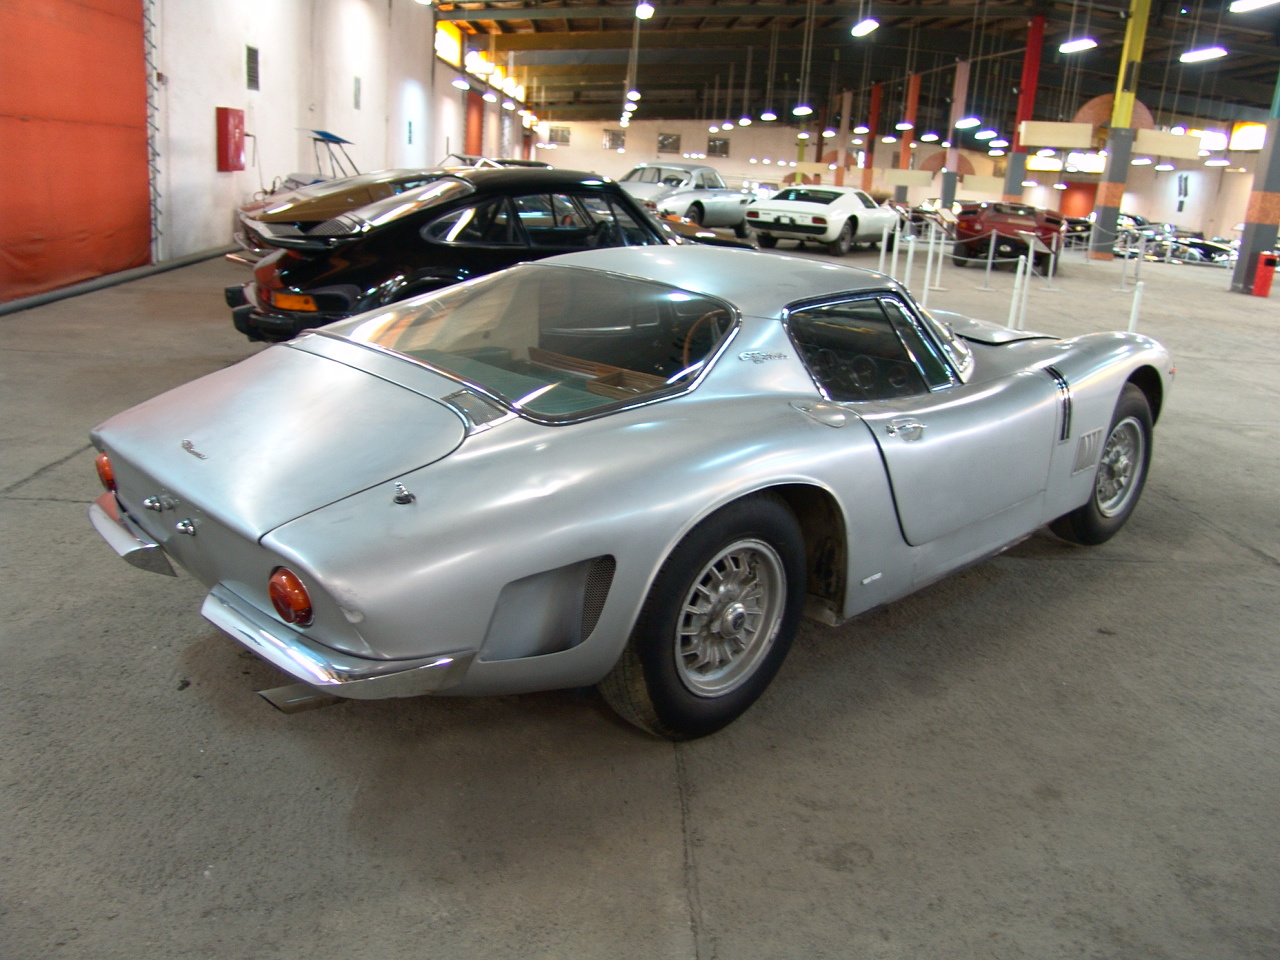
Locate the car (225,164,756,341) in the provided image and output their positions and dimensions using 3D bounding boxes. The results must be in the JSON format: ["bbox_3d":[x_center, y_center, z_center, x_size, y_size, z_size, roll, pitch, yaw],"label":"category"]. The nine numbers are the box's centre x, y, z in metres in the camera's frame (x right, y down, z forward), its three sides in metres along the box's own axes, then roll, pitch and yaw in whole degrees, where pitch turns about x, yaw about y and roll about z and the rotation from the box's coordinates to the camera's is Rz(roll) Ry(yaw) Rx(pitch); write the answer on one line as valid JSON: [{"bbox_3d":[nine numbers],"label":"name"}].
[{"bbox_3d":[-0.820,-1.735,6.718,4.143,0.904,1.687,-11,23,-27],"label":"car"}]

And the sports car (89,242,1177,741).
[{"bbox_3d":[0.499,-0.177,3.174,3.758,0.833,1.690,-13,26,-35],"label":"sports car"}]
